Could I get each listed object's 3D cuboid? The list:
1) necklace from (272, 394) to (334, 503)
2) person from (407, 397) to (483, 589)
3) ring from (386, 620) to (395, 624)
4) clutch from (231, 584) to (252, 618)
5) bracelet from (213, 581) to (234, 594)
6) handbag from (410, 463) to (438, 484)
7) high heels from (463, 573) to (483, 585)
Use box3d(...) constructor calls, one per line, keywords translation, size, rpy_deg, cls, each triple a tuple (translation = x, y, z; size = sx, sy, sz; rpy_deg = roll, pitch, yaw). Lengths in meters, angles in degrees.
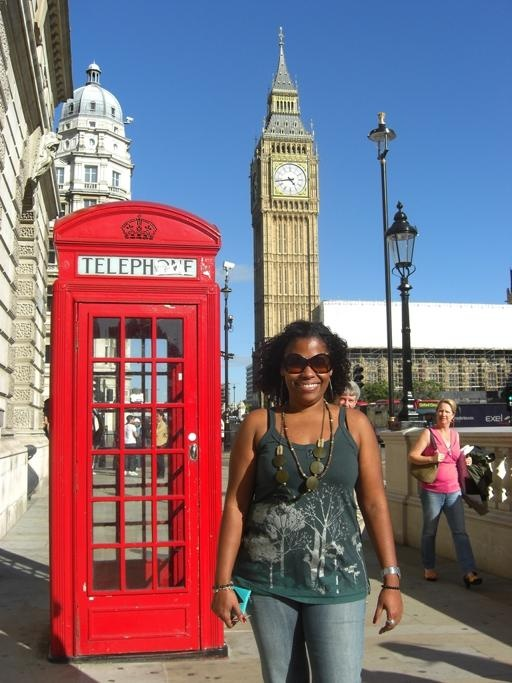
box3d(translation=(0.164, 0.338, 2.366), size=(0.236, 0.293, 0.124), rpy_deg=(2, -7, -35), cls="necklace")
box3d(translation=(1.609, 1.278, 6.628), size=(0.546, 1.539, 0.515), rpy_deg=(-4, -6, 23), cls="person")
box3d(translation=(0.392, 0.821, 2.255), size=(0.017, 0.012, 0.014), rpy_deg=(-8, -17, 26), cls="ring")
box3d(translation=(-0.045, 0.785, 2.325), size=(0.025, 0.079, 0.066), rpy_deg=(6, -3, -43), cls="clutch")
box3d(translation=(-0.093, 0.752, 2.363), size=(0.042, 0.018, 0.035), rpy_deg=(-18, -12, 28), cls="bracelet")
box3d(translation=(1.450, 1.145, 6.640), size=(0.224, 0.169, 0.137), rpy_deg=(-3, -6, 9), cls="handbag")
box3d(translation=(1.764, 1.926, 6.250), size=(0.068, 0.058, 0.135), rpy_deg=(3, -28, -24), cls="high heels")
